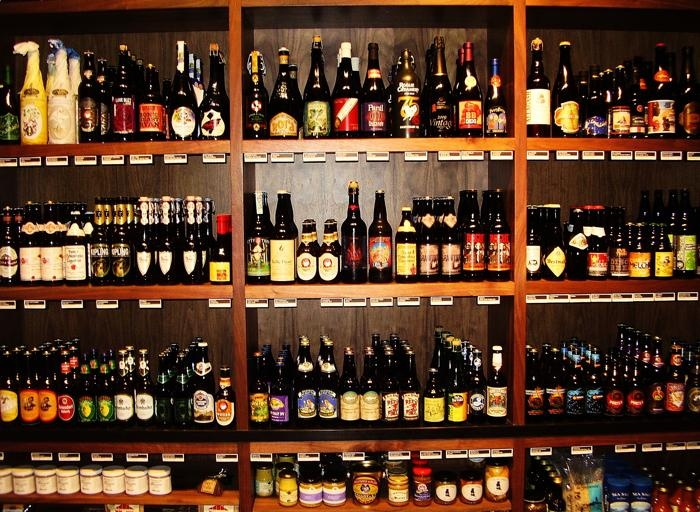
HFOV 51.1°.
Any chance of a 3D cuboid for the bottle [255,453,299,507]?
[{"bbox_3d":[-0.411,1.269,4.149,0.306,0.280,0.166,1,4,0],"label":"bottle"}]
